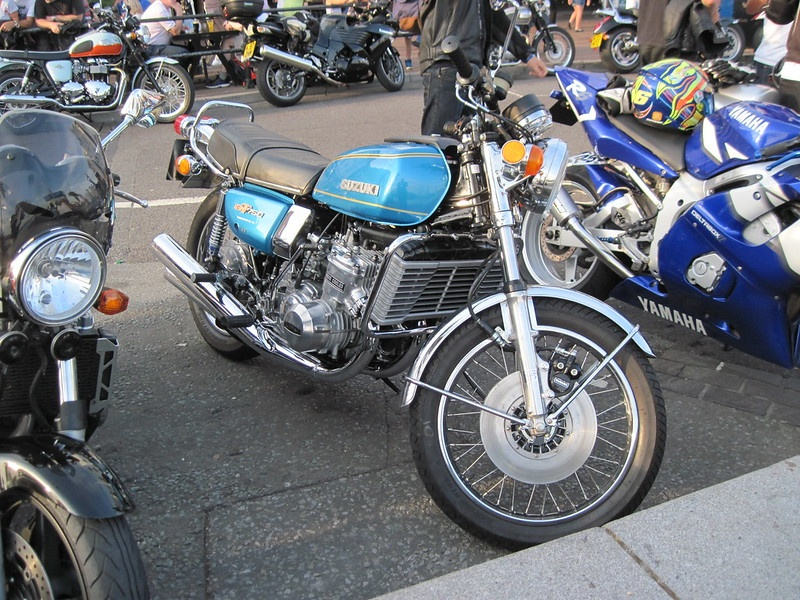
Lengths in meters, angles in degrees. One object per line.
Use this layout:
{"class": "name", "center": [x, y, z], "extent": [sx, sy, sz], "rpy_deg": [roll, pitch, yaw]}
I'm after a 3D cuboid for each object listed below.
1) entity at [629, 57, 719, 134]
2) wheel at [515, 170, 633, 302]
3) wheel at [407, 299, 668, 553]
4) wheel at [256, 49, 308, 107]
{"class": "entity", "center": [1.748, -1.323, 3.952], "extent": [0.523, 0.409, 0.404], "rpy_deg": [14, 40, 25]}
{"class": "wheel", "center": [1.139, -0.470, 4.331], "extent": [0.312, 0.959, 0.942], "rpy_deg": [-17, 18, -29]}
{"class": "wheel", "center": [0.566, 0.563, 2.670], "extent": [1.000, 1.043, 0.180], "rpy_deg": [-1, 5, 0]}
{"class": "wheel", "center": [-1.997, -3.794, 10.569], "extent": [0.859, 0.951, 0.359], "rpy_deg": [-8, 6, -21]}
